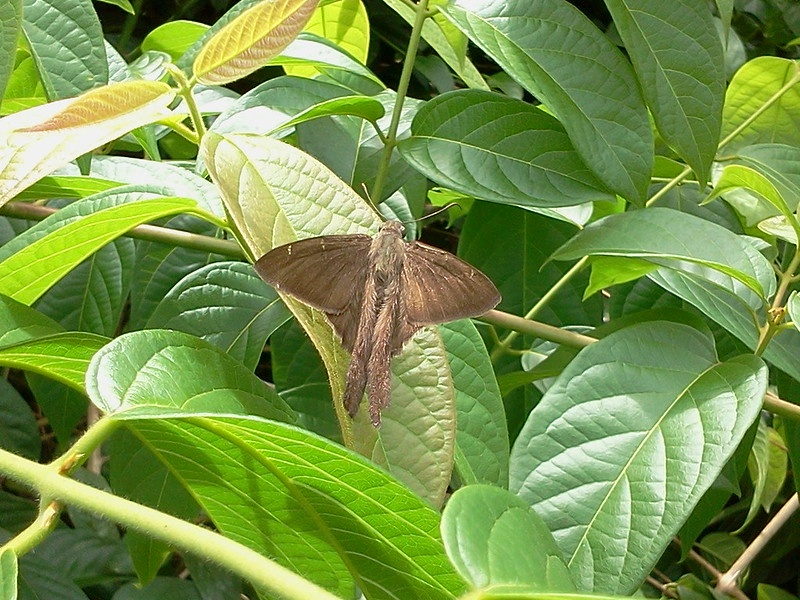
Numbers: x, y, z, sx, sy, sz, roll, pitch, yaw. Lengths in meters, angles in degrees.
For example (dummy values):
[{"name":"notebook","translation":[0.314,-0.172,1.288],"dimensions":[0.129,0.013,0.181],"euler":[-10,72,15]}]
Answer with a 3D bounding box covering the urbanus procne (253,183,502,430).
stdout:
[{"name":"urbanus procne","translation":[-0.028,-0.003,1.541],"dimensions":[0.332,0.375,0.096],"euler":[13,-38,-8]}]
